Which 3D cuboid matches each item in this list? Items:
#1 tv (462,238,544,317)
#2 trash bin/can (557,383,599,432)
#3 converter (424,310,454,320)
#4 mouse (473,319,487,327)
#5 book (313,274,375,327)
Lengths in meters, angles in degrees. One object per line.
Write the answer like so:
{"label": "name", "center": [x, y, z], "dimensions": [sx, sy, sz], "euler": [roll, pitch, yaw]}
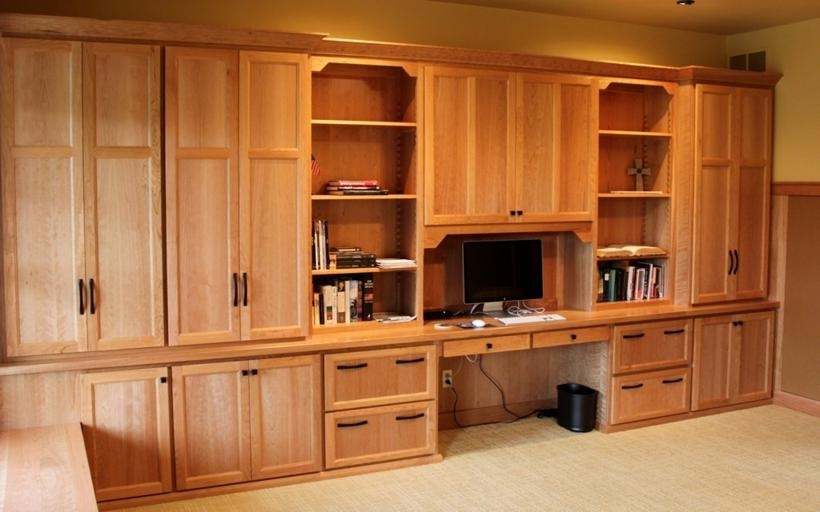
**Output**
{"label": "tv", "center": [0.818, 0.183, 6.095], "dimensions": [0.845, 0.600, 0.208], "euler": [-2, 1, -20]}
{"label": "trash bin/can", "center": [1.501, 1.418, 6.152], "dimensions": [0.352, 0.320, 0.448], "euler": [1, -1, -34]}
{"label": "converter", "center": [0.234, 0.530, 5.966], "dimensions": [0.194, 0.041, 0.102], "euler": [-1, 0, -19]}
{"label": "mouse", "center": [0.595, 0.576, 5.707], "dimensions": [0.075, 0.033, 0.072], "euler": [-4, 7, -37]}
{"label": "book", "center": [-0.566, 0.374, 5.705], "dimensions": [0.724, 0.488, 0.383], "euler": [1, -2, -26]}
